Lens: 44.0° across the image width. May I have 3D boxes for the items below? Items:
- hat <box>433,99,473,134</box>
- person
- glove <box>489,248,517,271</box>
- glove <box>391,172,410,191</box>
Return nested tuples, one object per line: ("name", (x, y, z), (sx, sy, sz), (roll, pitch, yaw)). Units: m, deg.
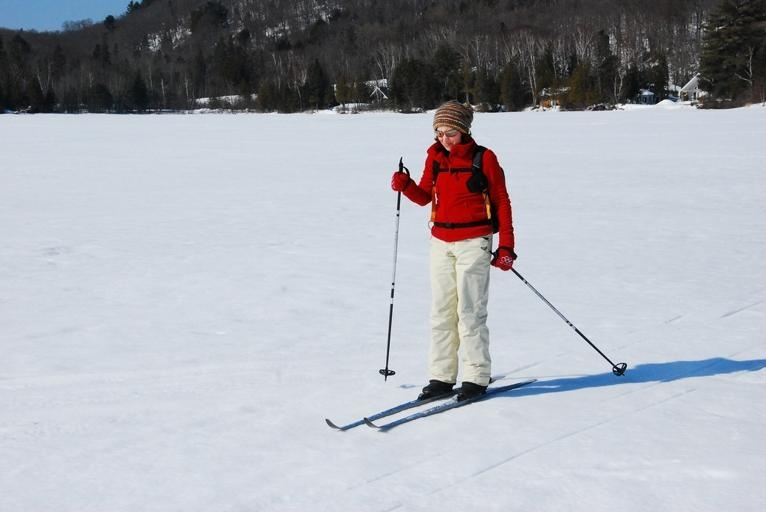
("hat", (0.552, -1.100, 7.552), (0.308, 0.271, 0.288), (-1, 15, 2))
("person", (0.676, -0.043, 7.566), (0.737, 2.327, 0.645), (0, 16, 7))
("glove", (0.960, 0.024, 7.604), (0.182, 0.241, 0.311), (0, 15, 7))
("glove", (0.134, -0.620, 7.782), (0.172, 0.143, 0.126), (-18, 18, -38))
